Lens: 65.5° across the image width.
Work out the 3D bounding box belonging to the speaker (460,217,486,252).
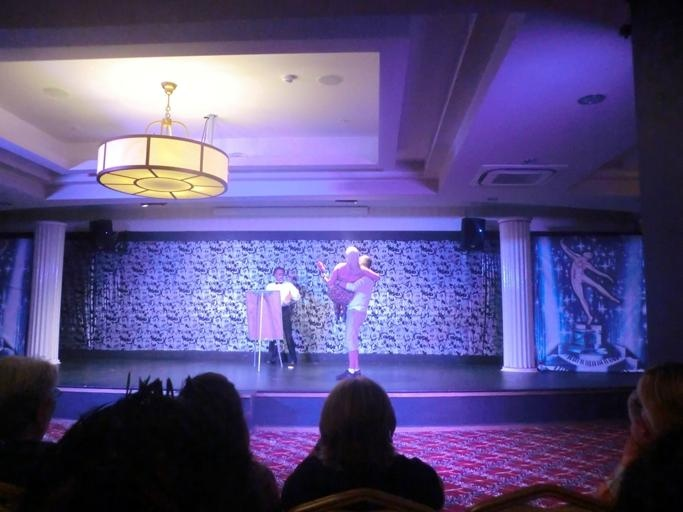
[{"bbox_3d":[2.028,-0.323,8.171,0.386,0.599,0.382,2,-8,14],"label":"speaker"}]

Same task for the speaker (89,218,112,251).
[{"bbox_3d":[-4.076,-0.361,9.000,0.360,0.526,0.446,1,4,-26],"label":"speaker"}]

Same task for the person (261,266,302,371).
[{"bbox_3d":[-0.912,0.941,8.260,0.490,1.496,1.214,2,3,-4],"label":"person"}]

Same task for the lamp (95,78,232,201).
[{"bbox_3d":[-1.756,-1.251,5.267,1.104,0.876,1.114,2,2,-31],"label":"lamp"}]

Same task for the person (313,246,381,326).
[{"bbox_3d":[0.015,0.417,6.581,0.822,1.080,0.359,8,22,13],"label":"person"}]
